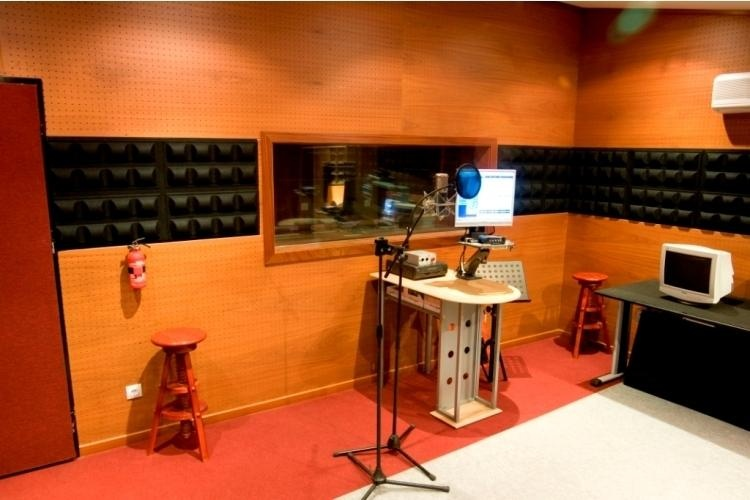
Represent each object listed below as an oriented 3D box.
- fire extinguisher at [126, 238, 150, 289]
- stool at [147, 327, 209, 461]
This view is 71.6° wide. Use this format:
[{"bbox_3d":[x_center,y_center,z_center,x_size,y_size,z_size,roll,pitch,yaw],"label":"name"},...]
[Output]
[{"bbox_3d":[-1.953,0.126,4.289,0.192,0.432,0.156,-7,12,-23],"label":"fire extinguisher"},{"bbox_3d":[-1.669,1.186,4.391,0.555,1.038,0.494,-2,11,0],"label":"stool"}]
